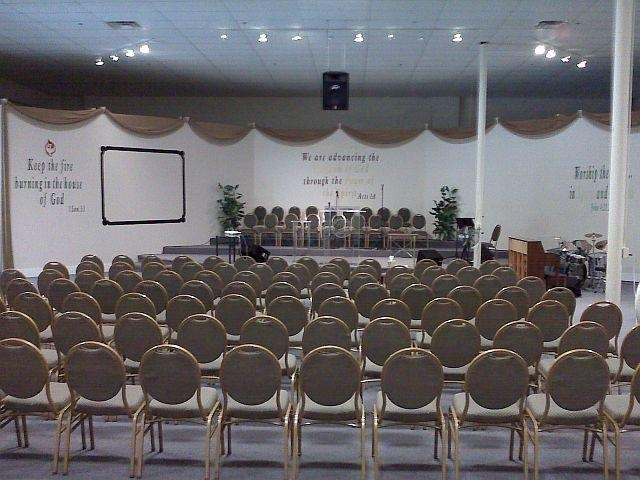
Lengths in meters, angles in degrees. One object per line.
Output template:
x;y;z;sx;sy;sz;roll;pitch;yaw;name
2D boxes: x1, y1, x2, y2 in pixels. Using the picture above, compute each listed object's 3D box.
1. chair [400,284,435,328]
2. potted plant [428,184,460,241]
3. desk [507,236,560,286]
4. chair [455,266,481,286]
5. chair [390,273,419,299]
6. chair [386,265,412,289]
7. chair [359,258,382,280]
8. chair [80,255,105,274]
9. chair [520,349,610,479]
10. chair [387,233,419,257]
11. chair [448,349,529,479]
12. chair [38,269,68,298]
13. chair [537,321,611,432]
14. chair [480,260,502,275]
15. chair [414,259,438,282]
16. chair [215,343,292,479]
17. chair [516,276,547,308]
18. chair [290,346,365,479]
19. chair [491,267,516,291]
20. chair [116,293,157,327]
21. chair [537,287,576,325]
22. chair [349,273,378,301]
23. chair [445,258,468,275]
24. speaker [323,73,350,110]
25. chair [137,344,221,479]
1.358;0.898;8.260;0.451;0.910;0.553;0;7;4;chair
3.472;-0.784;16.419;0.718;1.539;0.638;0;4;12;potted plant
4.438;0.439;12.303;0.656;0.961;1.421;-2;4;5;desk
2.428;0.573;9.737;0.305;0.334;0.319;0;8;8;chair
1.271;0.686;9.149;0.332;0.515;0.389;1;6;2;chair
1.300;0.579;9.972;0.393;0.415;0.363;1;7;7;chair
0.928;0.513;10.484;0.329;0.514;0.388;1;6;9;chair
-3.944;0.349;10.416;0.444;0.421;0.442;0;6;-33;chair
2.594;1.753;6.176;0.875;1.359;0.793;0;4;6;chair
2.081;0.115;15.037;0.626;0.654;0.655;0;-1;0;chair
1.771;1.749;6.216;0.827;1.347;0.902;0;4;11;chair
-4.089;0.666;9.290;0.391;0.602;0.453;1;10;-12;chair
2.691;1.367;6.836;0.704;1.382;0.838;-1;6;3;chair
2.935;0.448;10.344;0.250;0.426;0.274;2;4;7;chair
1.842;0.512;10.442;0.297;0.488;0.369;1;5;9;chair
-0.687;1.722;6.223;0.786;1.368;0.773;-1;4;-3;chair
3.163;0.760;9.017;0.370;0.712;0.442;1;7;11;chair
0.100;1.735;6.206;0.771;1.371;0.776;-1;4;4;chair
3.012;0.624;9.695;0.290;0.476;0.365;1;4;13;chair
-2.420;0.910;7.958;0.374;0.702;0.423;1;6;-3;chair
3.326;0.907;8.222;0.416;0.807;0.501;0;-2;8;chair
0.648;0.700;9.104;0.318;0.608;0.390;1;9;4;chair
2.419;0.447;10.522;0.279;0.382;0.320;2;4;6;chair
0.330;-3.187;12.765;0.569;0.891;0.725;0;4;-1;speaker
-1.483;1.737;6.211;0.885;1.370;0.788;-2;4;-14;chair
